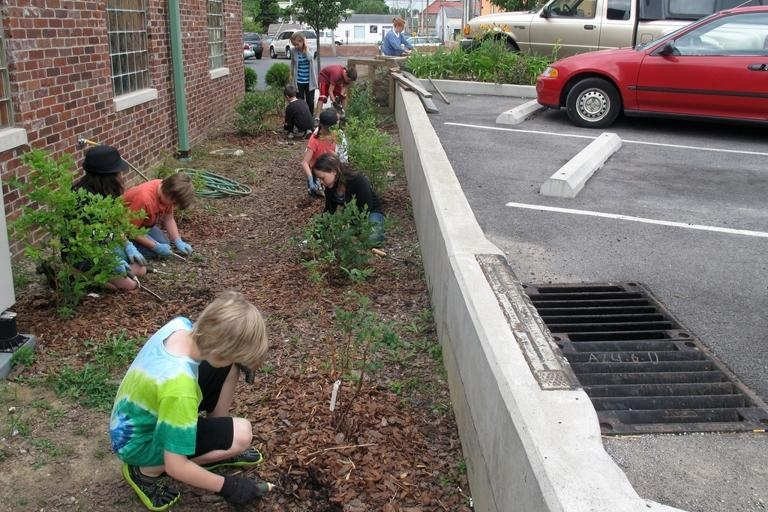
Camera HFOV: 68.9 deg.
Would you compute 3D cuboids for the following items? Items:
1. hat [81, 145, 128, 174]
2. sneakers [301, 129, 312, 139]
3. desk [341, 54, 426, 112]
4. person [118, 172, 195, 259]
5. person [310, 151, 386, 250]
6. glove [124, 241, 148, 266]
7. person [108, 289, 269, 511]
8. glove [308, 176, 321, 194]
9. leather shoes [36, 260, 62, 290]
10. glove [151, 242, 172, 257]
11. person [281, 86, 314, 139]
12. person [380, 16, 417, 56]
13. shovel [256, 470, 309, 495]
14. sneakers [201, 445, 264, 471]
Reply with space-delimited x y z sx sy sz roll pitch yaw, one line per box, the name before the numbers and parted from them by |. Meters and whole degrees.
hat | -2.769 -0.976 5.526 0.336 0.129 0.345 29 36 36
sneakers | -1.631 -2.546 11.757 0.104 0.251 0.149 23 20 -51
desk | -0.087 -4.171 14.293 1.845 1.447 1.734 16 38 25
person | -2.494 -0.409 6.244 0.813 0.796 0.491 35 48 -7
person | -0.562 -0.751 6.974 1.055 1.046 0.923 -3 20 11
glove | -2.653 -0.019 6.087 0.182 0.097 0.263 -41 79 -7
person | -1.217 0.965 3.584 0.948 1.455 0.635 -13 28 -26
glove | -1.052 -1.059 8.344 0.076 0.232 0.188 -25 -12 37
leather shoes | -3.183 0.183 5.419 0.192 0.243 0.096 5 48 36
glove | -2.520 -0.080 6.415 0.133 0.175 0.060 -34 39 14
person | -1.873 -3.031 11.789 0.773 1.036 0.635 1 33 -1
person | 0.265 -6.397 16.351 0.755 1.043 1.596 4 24 7
shovel | -0.724 1.564 3.863 0.243 0.057 0.131 13 14 -9
sneakers | -1.066 1.426 3.977 0.402 0.154 0.132 -8 26 -18
